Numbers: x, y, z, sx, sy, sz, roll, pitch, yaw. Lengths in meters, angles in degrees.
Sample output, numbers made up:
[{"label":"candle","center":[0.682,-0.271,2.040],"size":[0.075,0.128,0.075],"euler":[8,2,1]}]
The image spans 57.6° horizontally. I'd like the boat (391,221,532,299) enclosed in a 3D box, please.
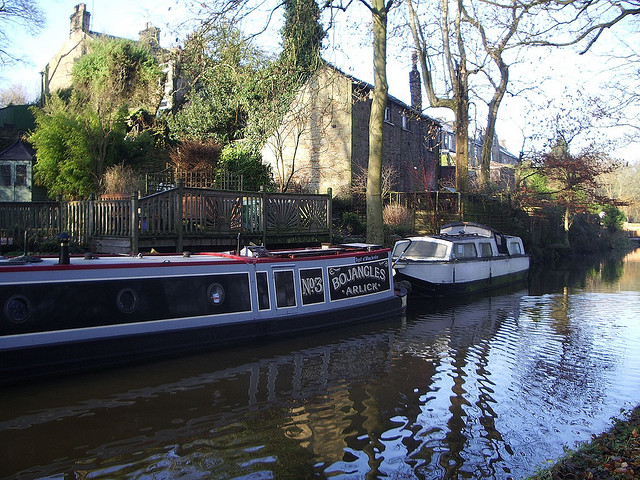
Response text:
[{"label":"boat","center":[5.228,0.744,22.119],"size":[2.298,2.481,6.846],"euler":[-1,-1,36]}]
